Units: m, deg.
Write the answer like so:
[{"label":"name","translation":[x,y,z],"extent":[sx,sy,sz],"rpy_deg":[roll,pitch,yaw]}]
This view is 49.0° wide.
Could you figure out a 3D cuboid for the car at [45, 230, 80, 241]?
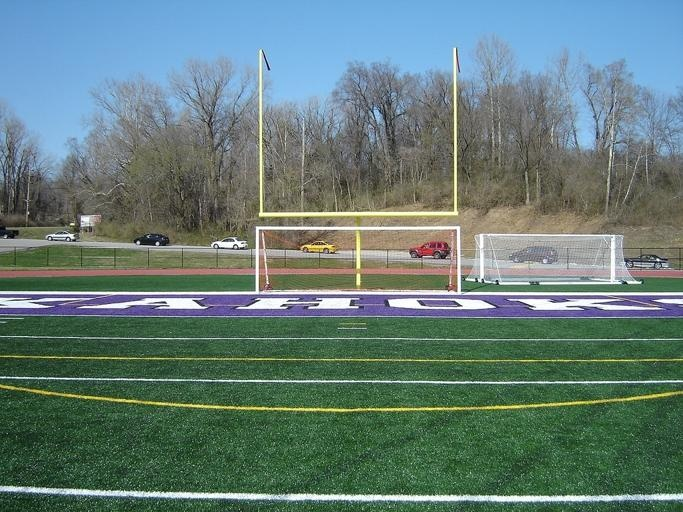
[{"label":"car","translation":[-23.244,-1.679,62.707],"extent":[2.808,0.893,1.159],"rpy_deg":[4,0,4]}]

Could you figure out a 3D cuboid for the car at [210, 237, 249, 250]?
[{"label":"car","translation":[-7.781,-0.912,53.338],"extent":[2.450,0.824,2.293],"rpy_deg":[-1,1,10]}]

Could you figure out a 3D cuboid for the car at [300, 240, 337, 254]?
[{"label":"car","translation":[-1.173,-0.488,44.232],"extent":[0.985,0.743,2.570],"rpy_deg":[0,1,37]}]

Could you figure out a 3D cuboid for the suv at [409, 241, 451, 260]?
[{"label":"suv","translation":[5.113,-0.313,43.710],"extent":[2.133,0.947,1.031],"rpy_deg":[4,2,7]}]

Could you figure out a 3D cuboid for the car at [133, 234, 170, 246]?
[{"label":"car","translation":[-13.842,-1.152,54.481],"extent":[2.135,0.692,1.058],"rpy_deg":[3,1,3]}]
